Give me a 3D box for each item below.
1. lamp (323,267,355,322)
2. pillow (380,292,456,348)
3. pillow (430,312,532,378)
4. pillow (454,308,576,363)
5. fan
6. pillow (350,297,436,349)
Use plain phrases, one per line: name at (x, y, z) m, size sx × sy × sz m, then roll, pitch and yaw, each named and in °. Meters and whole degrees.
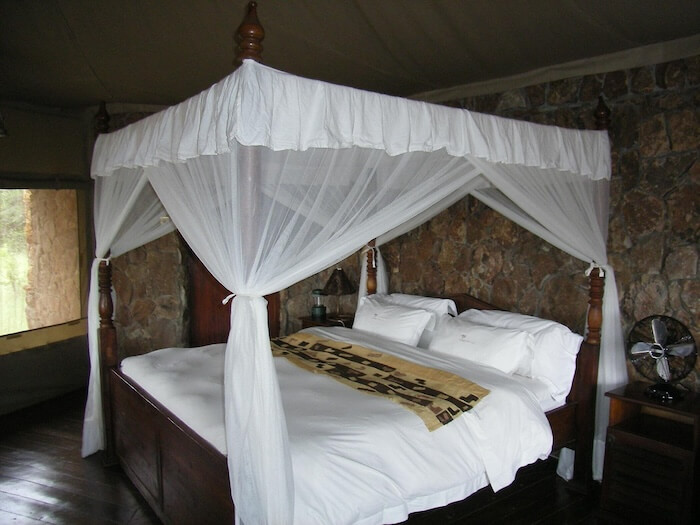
lamp at (-0.131, 0.338, 6.030) m, size 0.335 × 0.614 × 0.350 m, roll 7°, pitch 16°, yaw 28°
pillow at (0.691, 0.426, 5.026) m, size 0.449 × 0.169 × 0.517 m, roll 9°, pitch 32°, yaw 38°
pillow at (1.058, 0.650, 4.293) m, size 0.329 × 0.265 × 0.674 m, roll -25°, pitch 17°, yaw -32°
pillow at (1.383, 0.597, 4.478) m, size 0.149 × 0.280 × 0.832 m, roll 13°, pitch -1°, yaw -32°
fan at (2.255, 0.677, 3.839) m, size 0.479 × 0.741 × 0.282 m, roll 2°, pitch 10°, yaw 41°
pillow at (0.396, 0.549, 4.901) m, size 0.296 × 0.340 × 0.726 m, roll 6°, pitch 10°, yaw -42°
